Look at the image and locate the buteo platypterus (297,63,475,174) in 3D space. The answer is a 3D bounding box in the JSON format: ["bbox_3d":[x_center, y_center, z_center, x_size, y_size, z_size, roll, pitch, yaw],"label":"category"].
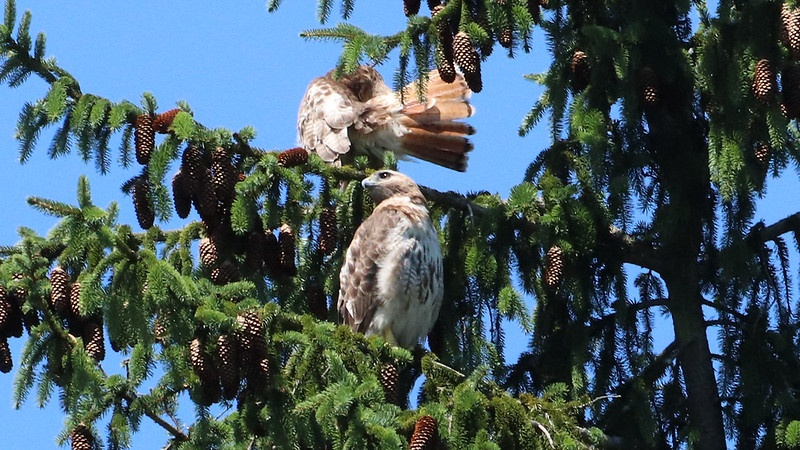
[{"bbox_3d":[-0.104,-1.083,19.769,1.613,1.249,0.886,-9,-36,31],"label":"buteo platypterus"}]

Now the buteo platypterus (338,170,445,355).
[{"bbox_3d":[-0.098,0.453,18.702,0.973,1.624,0.807,-25,-38,17],"label":"buteo platypterus"}]
